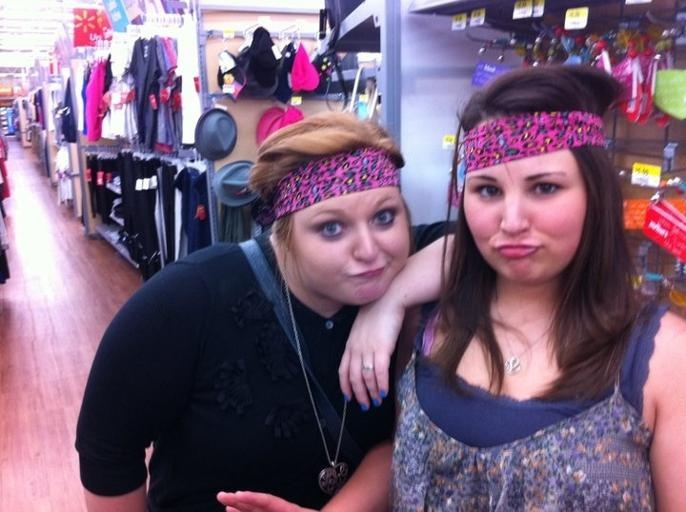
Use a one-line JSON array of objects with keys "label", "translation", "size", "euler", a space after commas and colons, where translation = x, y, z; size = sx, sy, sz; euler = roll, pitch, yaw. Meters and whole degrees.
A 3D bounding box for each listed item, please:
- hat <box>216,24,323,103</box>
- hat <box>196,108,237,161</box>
[{"label": "hat", "translation": [-0.556, -1.352, 3.900], "size": [0.493, 0.323, 0.591], "euler": [3, -1, 5]}, {"label": "hat", "translation": [-0.946, -0.884, 3.937], "size": [0.084, 0.359, 0.335], "euler": [8, 32, 41]}]
